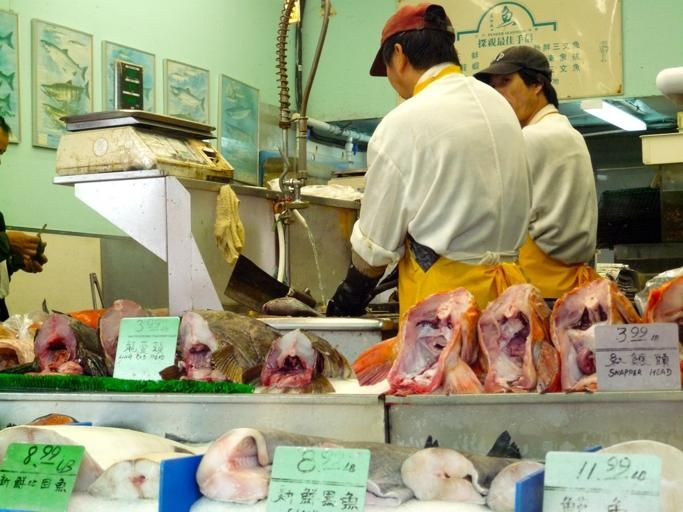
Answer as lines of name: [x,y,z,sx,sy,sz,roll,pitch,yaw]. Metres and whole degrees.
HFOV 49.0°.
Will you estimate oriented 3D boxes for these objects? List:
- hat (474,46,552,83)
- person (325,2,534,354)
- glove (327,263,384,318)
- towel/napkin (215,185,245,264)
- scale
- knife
hat: [0.852,-0.940,3.622,0.363,0.182,0.268,5,6,0]
person: [0.344,-0.370,2.922,0.755,1.249,0.322,0,1,15]
glove: [0.037,0.164,3.119,0.088,0.127,0.338,-1,35,-16]
towel/napkin: [-0.526,-0.143,3.550,0.131,0.384,0.110,-4,-15,-8]
scale: [-0.968,-0.536,3.778,0.633,0.311,0.651,1,1,29]
knife: [-0.290,0.196,3.536,0.476,0.134,0.262,15,-46,-30]
